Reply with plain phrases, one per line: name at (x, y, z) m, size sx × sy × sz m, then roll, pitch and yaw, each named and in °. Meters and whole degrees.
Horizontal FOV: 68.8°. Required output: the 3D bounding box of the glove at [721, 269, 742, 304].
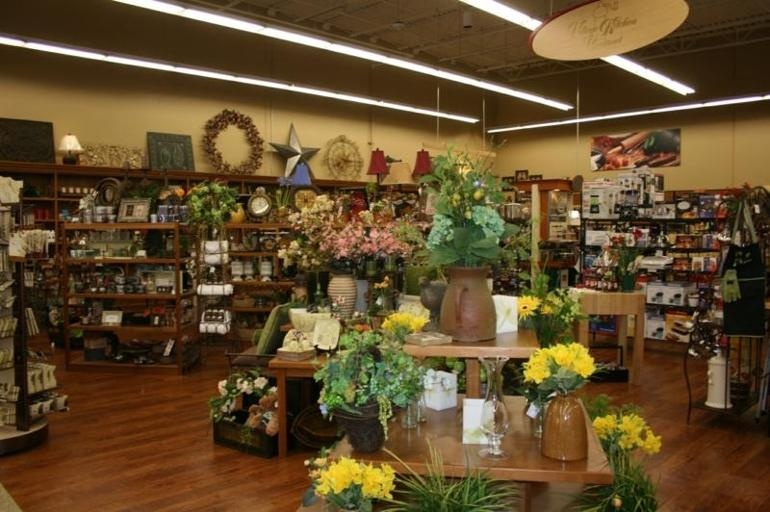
glove at (3.405, 0.315, 5.573) m, size 0.218 × 0.277 × 0.089 m, roll 2°, pitch -2°, yaw 14°

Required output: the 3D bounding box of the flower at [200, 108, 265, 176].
flower at (-3.056, -2.266, 11.356) m, size 1.295 × 1.268 × 0.432 m, roll -19°, pitch 10°, yaw -41°
